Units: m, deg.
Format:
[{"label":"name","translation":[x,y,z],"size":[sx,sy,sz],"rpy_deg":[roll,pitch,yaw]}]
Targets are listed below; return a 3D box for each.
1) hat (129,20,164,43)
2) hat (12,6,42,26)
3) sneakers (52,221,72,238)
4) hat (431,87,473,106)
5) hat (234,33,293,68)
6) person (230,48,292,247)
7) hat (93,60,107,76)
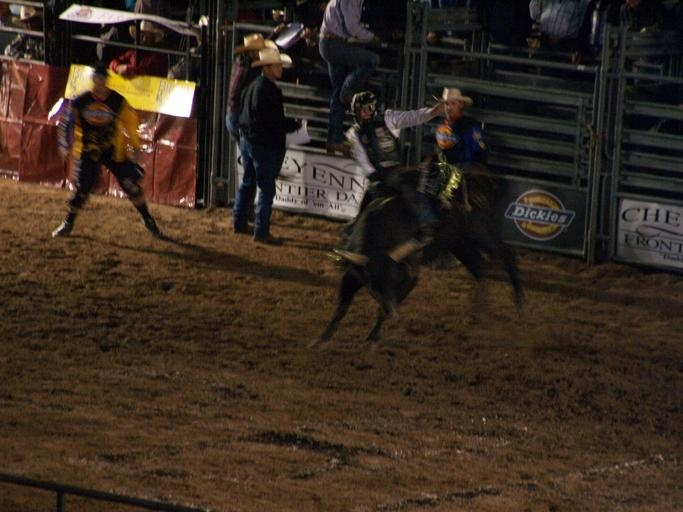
[{"label":"hat","translation":[-2.757,-3.211,15.164],"size":[0.459,0.399,0.356],"rpy_deg":[-9,33,-18]},{"label":"hat","translation":[-4.600,-3.471,15.565],"size":[0.339,0.152,0.378],"rpy_deg":[13,-36,-2]},{"label":"sneakers","translation":[-3.645,-0.330,13.872],"size":[0.090,0.100,0.258],"rpy_deg":[-32,1,10]},{"label":"hat","translation":[1.331,-1.958,13.102],"size":[0.322,0.119,0.367],"rpy_deg":[-5,-15,27]},{"label":"hat","translation":[-1.025,-2.606,13.536],"size":[0.367,0.428,0.740],"rpy_deg":[3,9,-31]},{"label":"person","translation":[-1.002,-1.429,13.714],"size":[0.717,2.556,0.840],"rpy_deg":[6,7,-8]},{"label":"hat","translation":[-2.994,-2.300,13.176],"size":[0.169,0.164,0.332],"rpy_deg":[5,8,-16]}]
